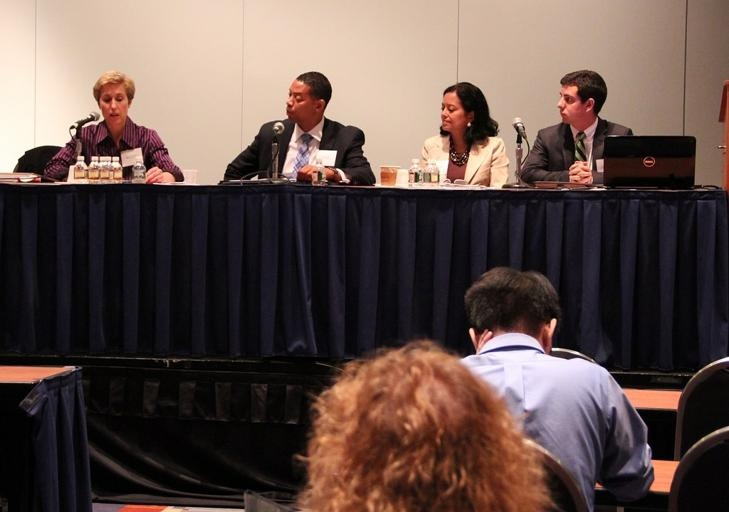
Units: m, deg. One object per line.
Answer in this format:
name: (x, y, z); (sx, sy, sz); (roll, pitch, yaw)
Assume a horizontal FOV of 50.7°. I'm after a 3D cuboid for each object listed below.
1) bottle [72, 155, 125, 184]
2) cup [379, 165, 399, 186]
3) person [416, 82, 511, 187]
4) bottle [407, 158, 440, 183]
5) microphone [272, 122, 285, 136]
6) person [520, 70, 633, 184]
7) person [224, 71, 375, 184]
bottle: (-1.641, -0.515, 4.715); (0.223, 0.132, 0.233); (0, 0, 0)
cup: (0.157, -0.520, 4.939); (0.115, 0.105, 0.111); (0, 4, 0)
person: (0.723, -0.775, 5.637); (0.625, 0.919, 0.445); (-1, -5, 30)
bottle: (0.374, -0.514, 4.837); (0.153, 0.138, 0.168); (2, 3, 25)
microphone: (-0.557, -0.819, 4.977); (0.063, 0.076, 0.222); (-8, 8, -10)
person: (1.483, -0.757, 5.401); (0.644, 0.969, 0.688); (-3, 9, -10)
person: (-0.410, -0.871, 5.231); (1.128, 0.783, 0.801); (3, 7, 44)
